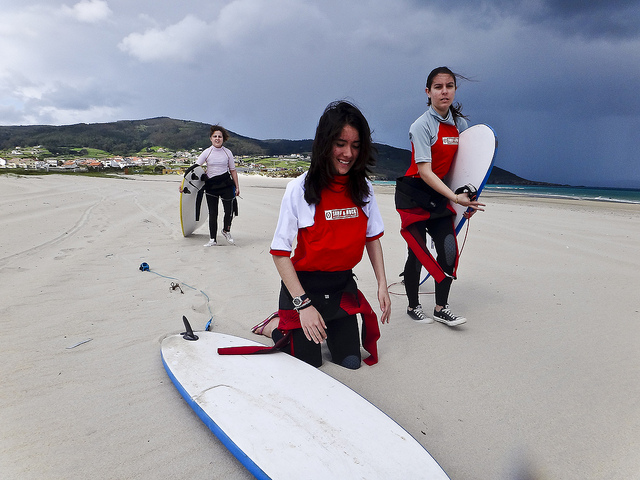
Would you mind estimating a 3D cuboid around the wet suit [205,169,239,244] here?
[{"bbox_3d":[-1.830,-0.613,7.708,0.579,1.323,0.629,-3,14,-14],"label":"wet suit"}]

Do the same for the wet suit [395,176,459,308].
[{"bbox_3d":[1.129,0.051,4.465,0.668,1.428,0.460,2,14,9],"label":"wet suit"}]

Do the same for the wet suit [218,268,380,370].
[{"bbox_3d":[-0.134,0.694,3.812,1.287,0.862,0.908,-5,3,24],"label":"wet suit"}]
